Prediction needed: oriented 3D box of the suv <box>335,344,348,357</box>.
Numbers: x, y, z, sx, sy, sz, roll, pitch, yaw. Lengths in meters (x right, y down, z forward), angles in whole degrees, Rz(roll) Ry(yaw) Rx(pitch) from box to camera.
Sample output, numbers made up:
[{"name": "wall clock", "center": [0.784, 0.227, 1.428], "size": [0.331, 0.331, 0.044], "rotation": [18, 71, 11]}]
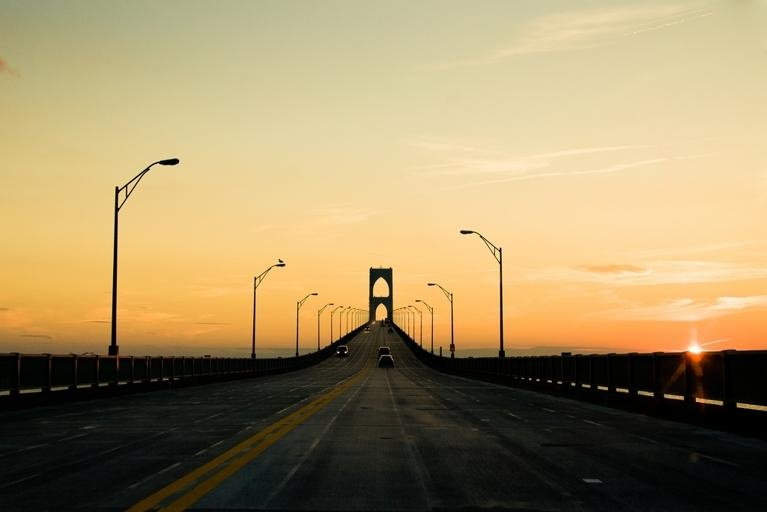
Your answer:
[{"name": "suv", "center": [-7.234, 17.027, 151.049], "size": [1.525, 1.253, 2.743], "rotation": [0, 2, 2]}]

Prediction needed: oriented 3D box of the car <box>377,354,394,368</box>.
[{"name": "car", "center": [0.299, 12.819, 103.260], "size": [1.665, 1.488, 2.038], "rotation": [0, -9, -6]}]
